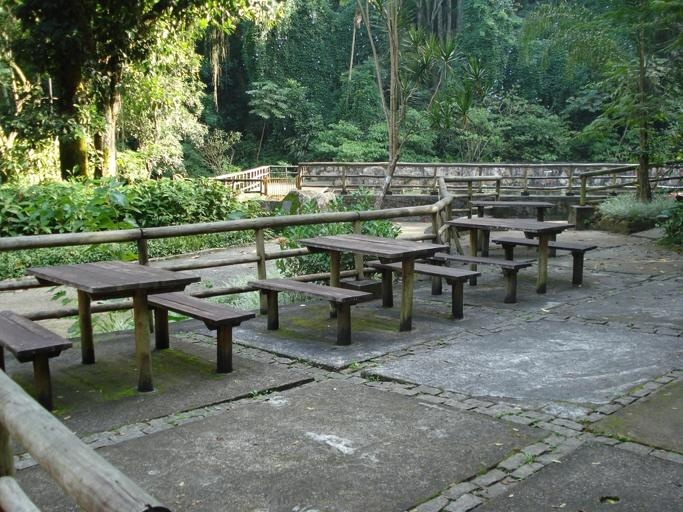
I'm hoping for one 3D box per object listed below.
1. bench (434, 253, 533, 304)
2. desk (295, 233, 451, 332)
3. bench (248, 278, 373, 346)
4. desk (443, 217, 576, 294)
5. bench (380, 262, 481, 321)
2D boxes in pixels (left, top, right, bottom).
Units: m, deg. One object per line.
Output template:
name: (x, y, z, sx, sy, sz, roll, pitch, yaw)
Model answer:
bench: (1.636, 0.250, 6.561, 0.396, 0.397, 1.403, -6, 10, -40)
desk: (0.281, 0.254, 5.590, 0.974, 0.699, 1.706, 0, 6, -35)
bench: (-0.286, 0.520, 5.076, 1.217, 0.517, 0.485, 6, 12, 44)
desk: (2.283, 0.007, 7.277, 1.401, 0.768, 1.589, 0, 6, -42)
bench: (0.896, 0.383, 5.935, 0.444, 0.424, 1.376, -10, 9, -41)
